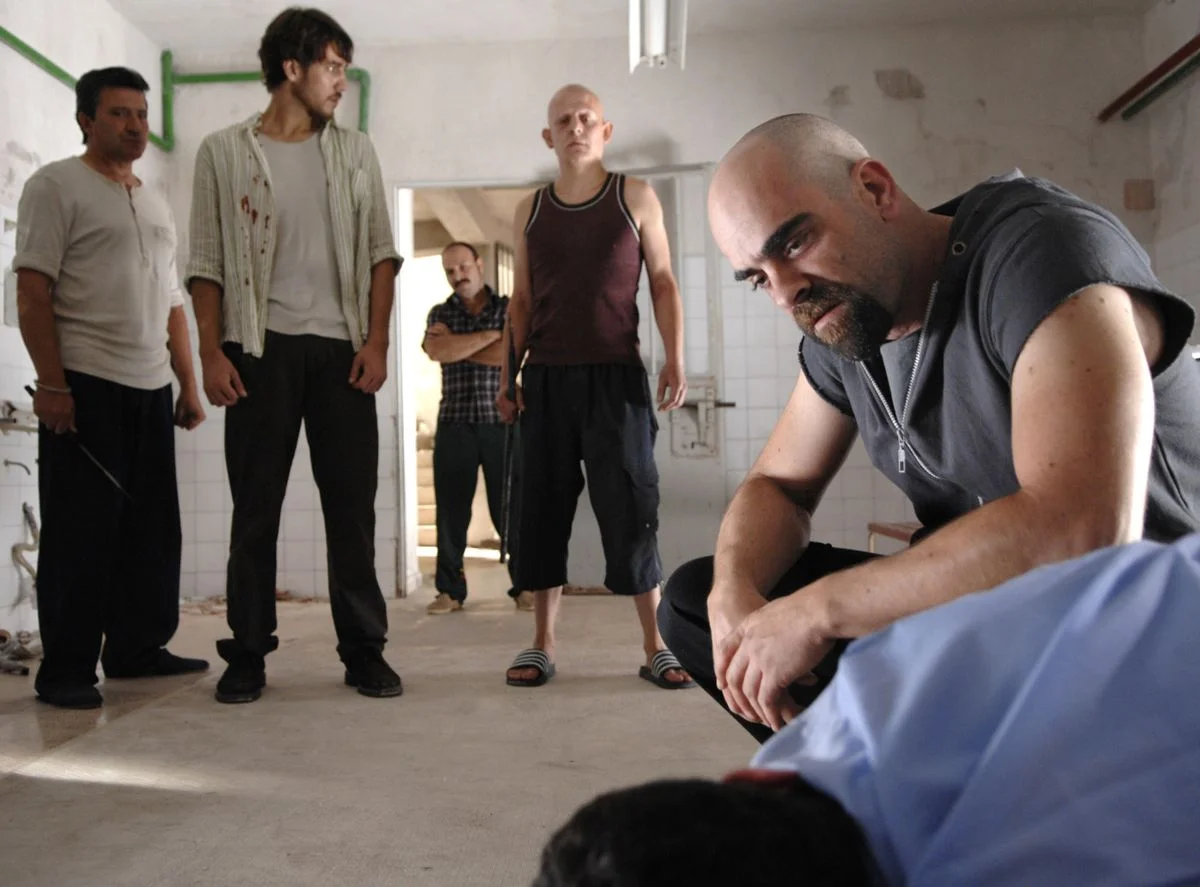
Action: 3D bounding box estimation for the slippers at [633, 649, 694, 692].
[{"bbox_3d":[0.191,0.673,3.101,0.105,0.105,0.287,-2,-3,-16],"label":"slippers"}]

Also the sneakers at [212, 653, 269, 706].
[{"bbox_3d":[-1.017,0.658,2.873,0.135,0.117,0.190,-1,1,-20],"label":"sneakers"}]

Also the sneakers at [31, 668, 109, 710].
[{"bbox_3d":[-1.476,0.678,2.821,0.158,0.088,0.217,-1,1,-32],"label":"sneakers"}]

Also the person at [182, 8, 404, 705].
[{"bbox_3d":[-0.891,-0.277,2.941,0.601,1.983,0.292,0,0,-14],"label":"person"}]

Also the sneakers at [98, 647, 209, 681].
[{"bbox_3d":[-1.400,0.686,3.212,0.332,0.124,0.119,0,-1,-21],"label":"sneakers"}]

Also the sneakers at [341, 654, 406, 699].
[{"bbox_3d":[-0.652,0.665,2.906,0.086,0.088,0.203,1,-4,-35],"label":"sneakers"}]
